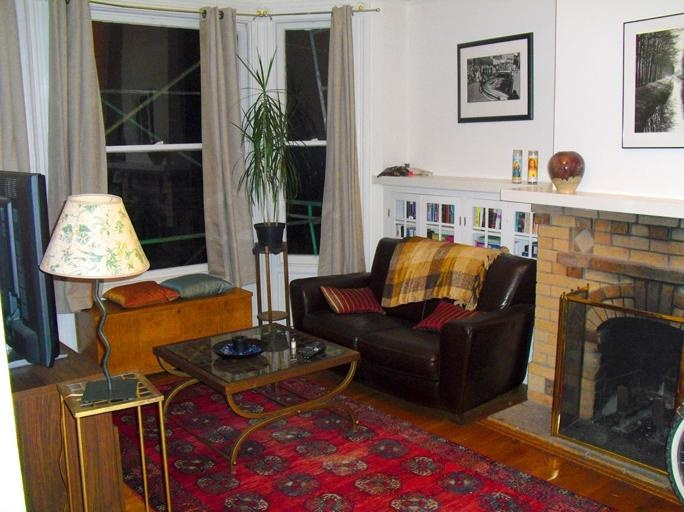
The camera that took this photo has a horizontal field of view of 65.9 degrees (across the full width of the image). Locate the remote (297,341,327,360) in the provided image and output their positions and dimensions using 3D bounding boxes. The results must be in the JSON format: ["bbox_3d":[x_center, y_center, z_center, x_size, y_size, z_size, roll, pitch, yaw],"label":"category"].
[{"bbox_3d":[-0.193,0.603,3.417,0.081,0.042,0.144,9,18,32],"label":"remote"}]

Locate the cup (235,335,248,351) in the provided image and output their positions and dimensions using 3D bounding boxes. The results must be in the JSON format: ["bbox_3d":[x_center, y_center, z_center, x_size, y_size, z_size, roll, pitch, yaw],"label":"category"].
[{"bbox_3d":[-0.652,0.552,3.393,0.087,0.078,0.115,-1,13,-2],"label":"cup"}]

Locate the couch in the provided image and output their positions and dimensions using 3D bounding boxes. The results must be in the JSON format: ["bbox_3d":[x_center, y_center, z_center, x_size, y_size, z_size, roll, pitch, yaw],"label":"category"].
[{"bbox_3d":[0.531,0.079,3.834,1.208,1.067,2.019,-7,12,-44],"label":"couch"}]

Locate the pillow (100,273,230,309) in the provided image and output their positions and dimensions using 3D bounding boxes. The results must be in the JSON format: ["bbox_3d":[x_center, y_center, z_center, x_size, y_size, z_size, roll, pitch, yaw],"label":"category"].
[{"bbox_3d":[-1.458,0.281,4.382,0.649,0.096,0.365,-6,12,-29],"label":"pillow"}]

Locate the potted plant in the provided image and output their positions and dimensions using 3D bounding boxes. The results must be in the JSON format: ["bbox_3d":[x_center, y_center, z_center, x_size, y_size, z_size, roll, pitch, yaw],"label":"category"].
[{"bbox_3d":[-0.689,-0.960,4.864,0.540,1.787,0.732,-3,14,-5],"label":"potted plant"}]

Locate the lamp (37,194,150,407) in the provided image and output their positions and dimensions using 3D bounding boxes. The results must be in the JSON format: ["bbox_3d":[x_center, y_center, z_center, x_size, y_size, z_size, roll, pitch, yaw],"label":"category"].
[{"bbox_3d":[-1.050,0.170,2.296,0.420,0.866,0.435,-9,16,-28],"label":"lamp"}]

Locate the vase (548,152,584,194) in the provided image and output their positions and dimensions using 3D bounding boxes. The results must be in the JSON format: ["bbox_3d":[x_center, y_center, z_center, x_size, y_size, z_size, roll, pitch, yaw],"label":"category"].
[{"bbox_3d":[1.435,-0.529,3.397,0.297,0.273,0.272,-2,5,2],"label":"vase"}]
